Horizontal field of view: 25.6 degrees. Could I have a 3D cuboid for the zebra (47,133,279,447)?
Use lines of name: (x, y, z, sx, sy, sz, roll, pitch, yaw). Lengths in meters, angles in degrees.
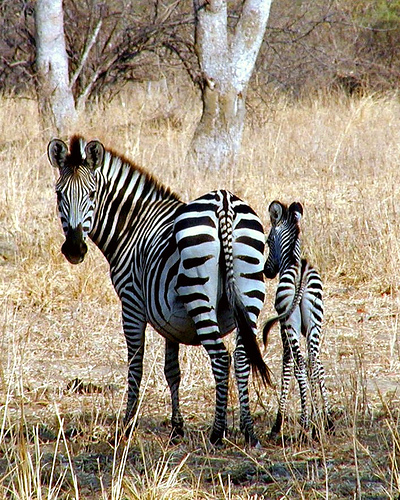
zebra: (-0.247, 0.186, 4.710, 1.282, 1.718, 0.461, 7, 11, 33)
